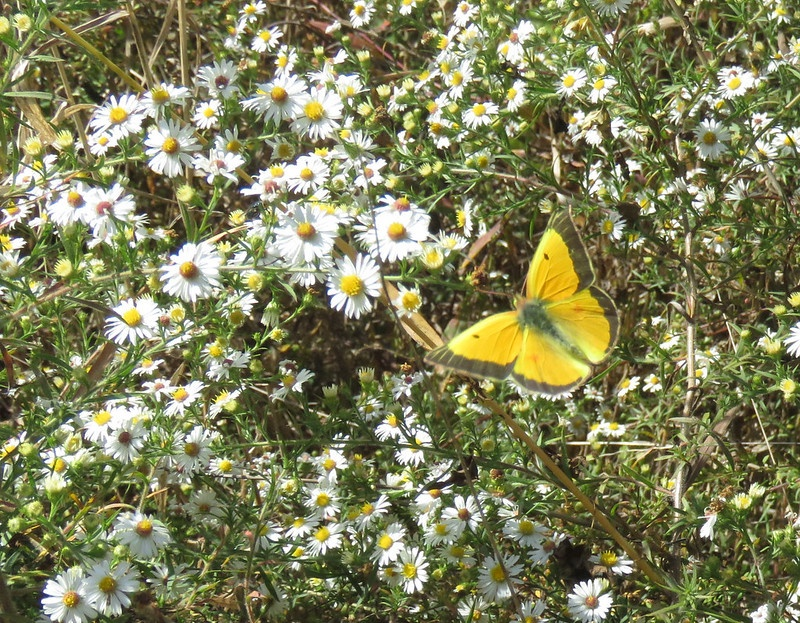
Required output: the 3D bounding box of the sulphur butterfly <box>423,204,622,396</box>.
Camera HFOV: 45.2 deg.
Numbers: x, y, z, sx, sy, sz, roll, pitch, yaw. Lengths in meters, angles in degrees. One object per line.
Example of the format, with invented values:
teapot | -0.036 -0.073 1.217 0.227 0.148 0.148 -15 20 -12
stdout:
sulphur butterfly | 0.363 0.033 2.883 0.407 0.475 0.718 -2 87 39
